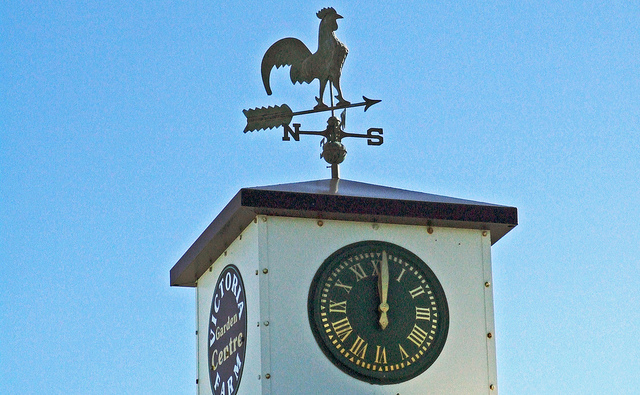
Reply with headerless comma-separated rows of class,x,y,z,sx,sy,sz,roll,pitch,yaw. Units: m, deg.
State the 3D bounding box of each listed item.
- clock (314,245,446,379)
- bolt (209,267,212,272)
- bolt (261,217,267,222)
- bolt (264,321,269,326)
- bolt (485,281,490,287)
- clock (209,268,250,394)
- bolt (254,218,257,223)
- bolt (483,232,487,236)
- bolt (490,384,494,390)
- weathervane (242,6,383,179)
clock,1.001,1.834,28.353,2.181,2.447,0.207,5,-33,-5
bolt,-1.892,1.237,30.264,0.053,0.111,0.054,4,-9,-30
bolt,-0.902,0.343,28.400,0.059,0.060,0.015,-43,-6,3
bolt,-0.860,2.012,27.979,0.068,0.078,0.019,-3,-1,-2
bolt,2.757,1.430,28.868,0.045,0.073,0.070,-7,-23,6
clock,-1.520,2.285,29.189,0.500,2.113,2.045,8,-35,-10
bolt,-1.048,0.362,28.479,0.046,0.103,0.051,3,-11,-15
bolt,2.733,0.594,29.085,0.055,0.063,0.014,-6,12,-13
bolt,2.792,3.094,28.473,0.073,0.079,0.018,-7,0,-1
weathervane,-0.086,-1.689,29.683,1.794,2.145,1.613,-21,-40,29
